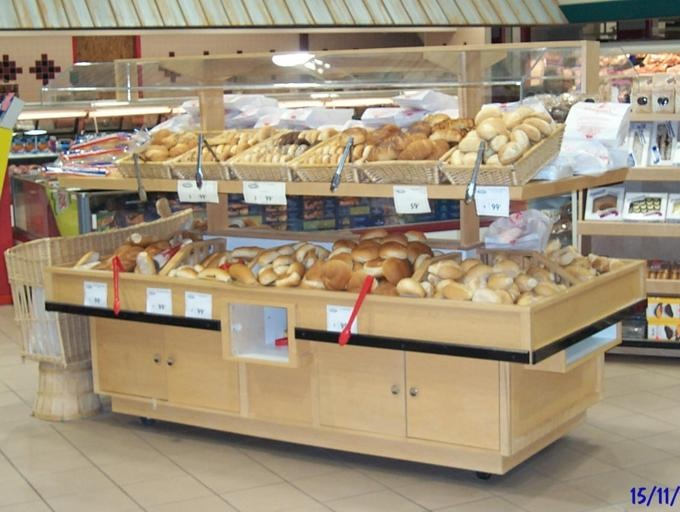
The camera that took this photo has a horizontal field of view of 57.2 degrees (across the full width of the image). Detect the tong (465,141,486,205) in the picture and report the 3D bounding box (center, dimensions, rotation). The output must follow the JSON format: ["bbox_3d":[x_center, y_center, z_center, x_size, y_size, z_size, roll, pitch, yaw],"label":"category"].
[{"bbox_3d":[0.512,-0.312,2.360,0.038,0.242,0.090,12,7,11],"label":"tong"}]

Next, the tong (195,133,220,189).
[{"bbox_3d":[-0.648,-0.450,3.038,0.179,0.051,0.409,2,33,-16],"label":"tong"}]

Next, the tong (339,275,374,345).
[{"bbox_3d":[0.071,0.241,2.644,0.061,0.344,0.054,36,22,12],"label":"tong"}]
